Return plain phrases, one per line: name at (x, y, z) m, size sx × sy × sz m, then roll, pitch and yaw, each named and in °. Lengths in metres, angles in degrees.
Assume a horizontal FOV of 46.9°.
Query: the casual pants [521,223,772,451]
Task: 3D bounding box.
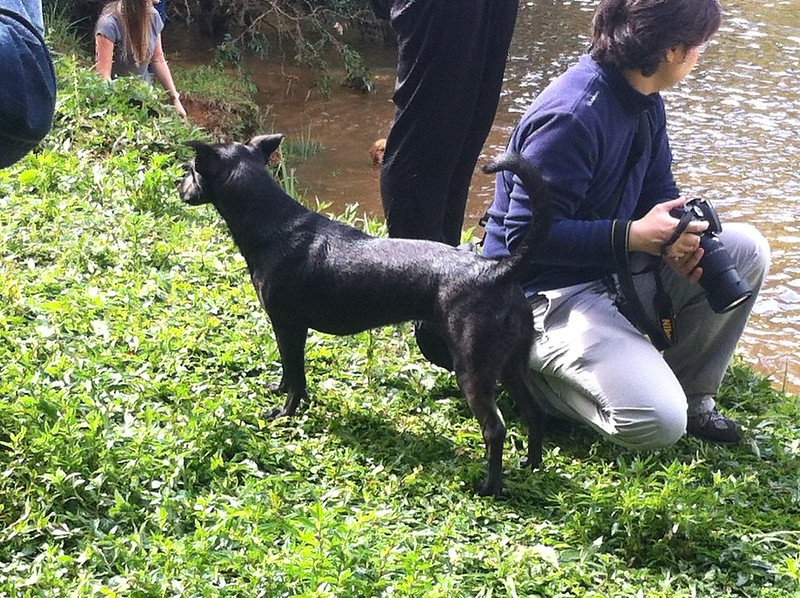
casual pants at (1.156, 0.262, 5.168) m, size 1.286 × 0.588 × 1.286 m, roll 22°, pitch 28°, yaw 30°
